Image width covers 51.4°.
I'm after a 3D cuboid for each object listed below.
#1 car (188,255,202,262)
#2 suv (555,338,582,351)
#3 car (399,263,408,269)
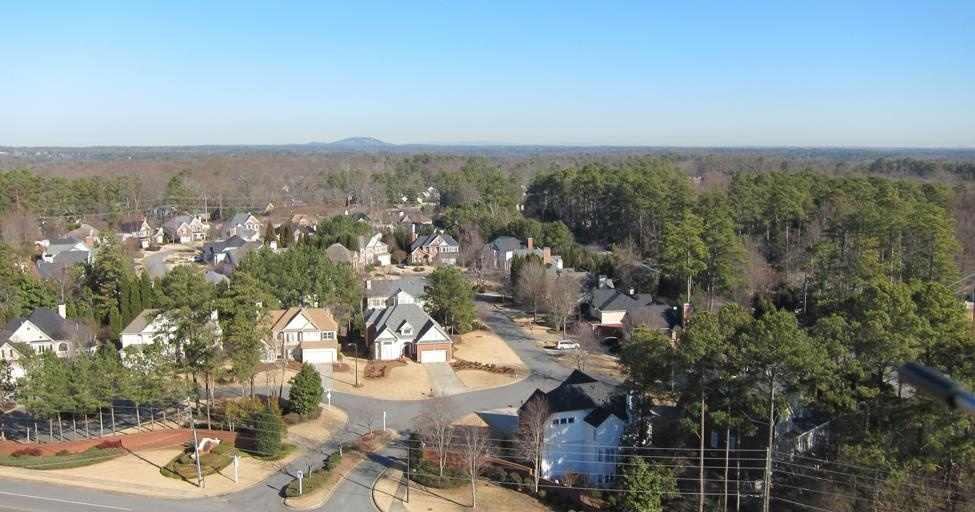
[{"bbox_3d":[-41.111,0.250,142.467,1.824,0.766,1.210,6,8,32],"label":"car"},{"bbox_3d":[9.107,10.005,116.564,2.168,0.798,1.188,-3,4,-3],"label":"suv"},{"bbox_3d":[-11.964,1.217,145.551,1.213,0.602,2.955,-1,5,-9],"label":"car"}]
